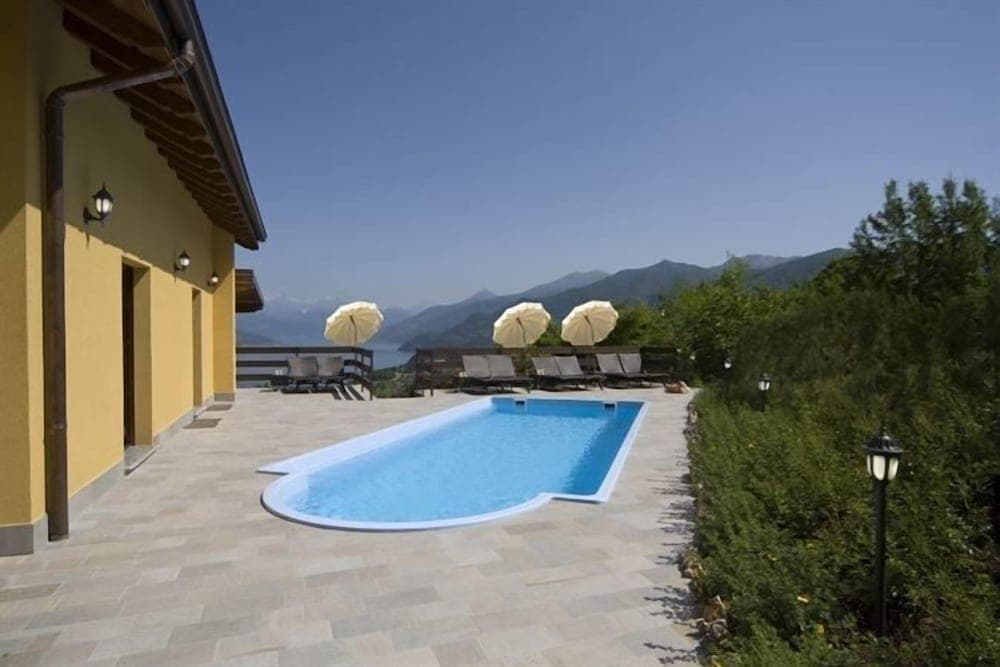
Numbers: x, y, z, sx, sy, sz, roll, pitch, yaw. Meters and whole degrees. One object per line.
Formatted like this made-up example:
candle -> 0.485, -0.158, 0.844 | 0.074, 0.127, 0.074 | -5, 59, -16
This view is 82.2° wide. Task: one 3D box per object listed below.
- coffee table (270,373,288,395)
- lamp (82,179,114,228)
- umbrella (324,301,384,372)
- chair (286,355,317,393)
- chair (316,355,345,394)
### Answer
coffee table -> -6.290, 1.456, 16.309 | 0.439, 0.459, 0.668 | -1, 1, -25
lamp -> -4.474, -1.399, 6.395 | 0.220, 0.406, 0.460 | -2, 6, -22
umbrella -> -4.097, -0.207, 16.199 | 1.458, 1.465, 1.425 | 6, -43, -29
chair -> -5.536, 1.171, 16.078 | 0.765, 0.989, 0.999 | 1, -3, -22
chair -> -4.811, 1.130, 16.157 | 0.745, 0.881, 0.968 | -1, 6, -16
